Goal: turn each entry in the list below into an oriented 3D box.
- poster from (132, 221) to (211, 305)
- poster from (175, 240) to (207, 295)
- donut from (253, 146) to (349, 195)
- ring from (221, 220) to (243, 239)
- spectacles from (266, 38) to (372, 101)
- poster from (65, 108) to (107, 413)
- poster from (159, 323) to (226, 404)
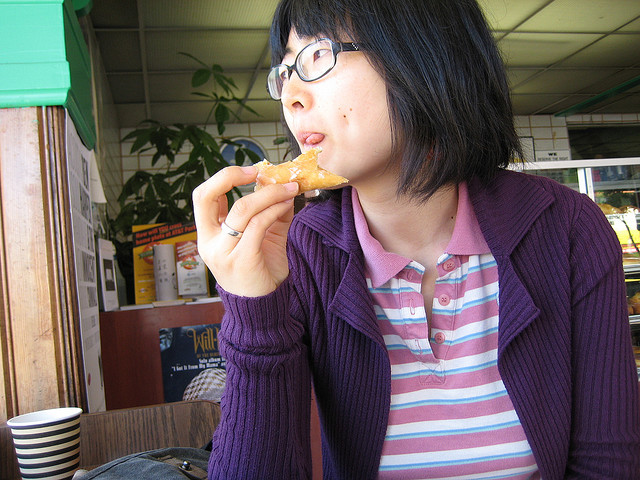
[{"bbox_3d":[-0.735,0.122,2.571,0.393,0.460,0.061,-6,-3,17],"label":"poster"},{"bbox_3d":[-0.669,0.142,2.691,0.145,0.291,0.087,-5,-3,-12],"label":"poster"},{"bbox_3d":[-0.063,-0.154,1.238,0.181,0.054,0.252,-20,-5,3],"label":"donut"},{"bbox_3d":[-0.184,-0.024,1.077,0.031,0.010,0.032,22,-8,3],"label":"ring"},{"bbox_3d":[0.003,-0.382,1.166,0.116,0.052,0.196,6,-24,-34],"label":"spectacles"},{"bbox_3d":[-0.783,0.113,1.761,0.053,0.982,0.502,-5,-3,-22],"label":"poster"},{"bbox_3d":[-0.573,0.608,2.533,0.425,0.502,0.039,0,24,-3],"label":"poster"}]
